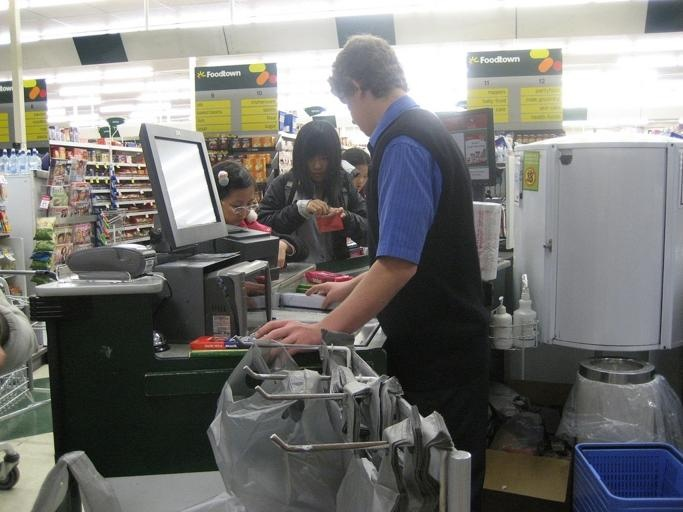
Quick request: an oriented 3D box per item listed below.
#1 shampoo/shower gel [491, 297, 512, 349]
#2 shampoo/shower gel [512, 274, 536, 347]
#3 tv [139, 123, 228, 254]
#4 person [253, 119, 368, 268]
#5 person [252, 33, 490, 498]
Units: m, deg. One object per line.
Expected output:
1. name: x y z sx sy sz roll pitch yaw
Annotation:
1. shampoo/shower gel: 0.822 0.337 2.803 0.104 0.279 0.170 0 8 15
2. shampoo/shower gel: 0.957 0.275 2.840 0.113 0.362 0.287 1 9 20
3. tv: -0.611 -0.279 2.165 0.145 0.455 0.475 0 8 12
4. person: -0.194 -0.410 3.906 0.841 1.531 0.902 -1 4 -8
5. person: 0.147 0.110 2.070 0.903 1.867 0.471 -9 11 -40
